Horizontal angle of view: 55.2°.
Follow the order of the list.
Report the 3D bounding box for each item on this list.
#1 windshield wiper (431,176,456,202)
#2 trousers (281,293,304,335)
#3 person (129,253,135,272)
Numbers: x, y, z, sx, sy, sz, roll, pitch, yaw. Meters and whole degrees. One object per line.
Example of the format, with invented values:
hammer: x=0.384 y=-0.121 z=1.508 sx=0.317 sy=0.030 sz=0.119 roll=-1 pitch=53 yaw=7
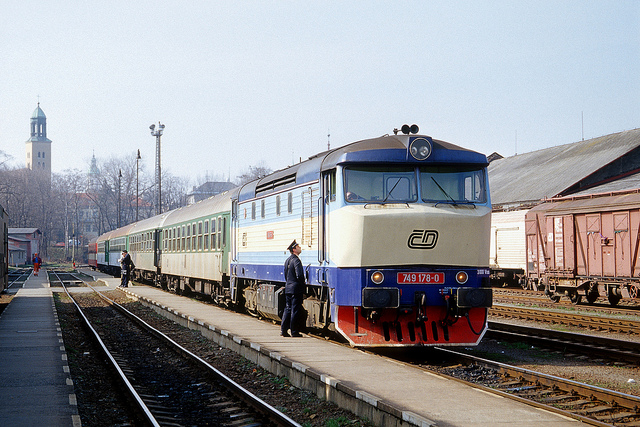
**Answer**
windshield wiper: x=2.861 y=-0.539 z=14.382 sx=0.018 sy=0.667 sz=0.083 roll=-31 pitch=-1 yaw=23
trousers: x=-0.735 y=2.619 z=15.945 sx=0.493 sy=1.089 sz=0.922 roll=1 pitch=-5 yaw=-5
person: x=-12.954 y=3.411 z=42.545 sx=0.334 sy=1.424 sz=1.420 roll=-1 pitch=0 yaw=-9
